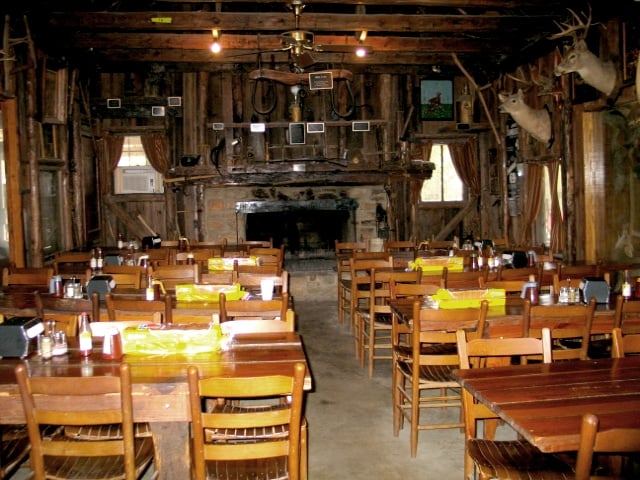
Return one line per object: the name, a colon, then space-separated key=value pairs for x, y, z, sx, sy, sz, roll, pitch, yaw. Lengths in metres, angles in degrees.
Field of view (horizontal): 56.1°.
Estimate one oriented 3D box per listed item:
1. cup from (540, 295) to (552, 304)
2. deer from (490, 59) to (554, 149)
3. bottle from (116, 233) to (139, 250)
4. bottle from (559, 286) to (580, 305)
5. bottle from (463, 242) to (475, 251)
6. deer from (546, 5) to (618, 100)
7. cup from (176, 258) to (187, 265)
cup: x=1.963 y=0.518 z=5.237 sx=0.103 sy=0.052 sz=0.087 roll=1 pitch=2 yaw=14
deer: x=3.498 y=-1.984 z=9.962 sx=0.757 sy=0.894 sz=1.155 roll=8 pitch=14 yaw=37
bottle: x=-3.513 y=0.027 z=10.901 sx=0.479 sy=0.241 sz=0.376 roll=1 pitch=5 yaw=-10
bottle: x=2.112 y=0.473 z=5.100 sx=0.158 sy=0.144 sz=0.058 roll=0 pitch=-36 yaw=14
bottle: x=2.055 y=0.090 z=8.360 sx=0.204 sy=0.158 sz=0.170 roll=1 pitch=3 yaw=10
deer: x=3.530 y=-2.515 z=7.985 sx=0.820 sy=1.291 sz=1.381 roll=2 pitch=11 yaw=13
cup: x=-1.742 y=0.272 z=7.595 sx=0.175 sy=0.062 sz=0.137 roll=2 pitch=-9 yaw=6
